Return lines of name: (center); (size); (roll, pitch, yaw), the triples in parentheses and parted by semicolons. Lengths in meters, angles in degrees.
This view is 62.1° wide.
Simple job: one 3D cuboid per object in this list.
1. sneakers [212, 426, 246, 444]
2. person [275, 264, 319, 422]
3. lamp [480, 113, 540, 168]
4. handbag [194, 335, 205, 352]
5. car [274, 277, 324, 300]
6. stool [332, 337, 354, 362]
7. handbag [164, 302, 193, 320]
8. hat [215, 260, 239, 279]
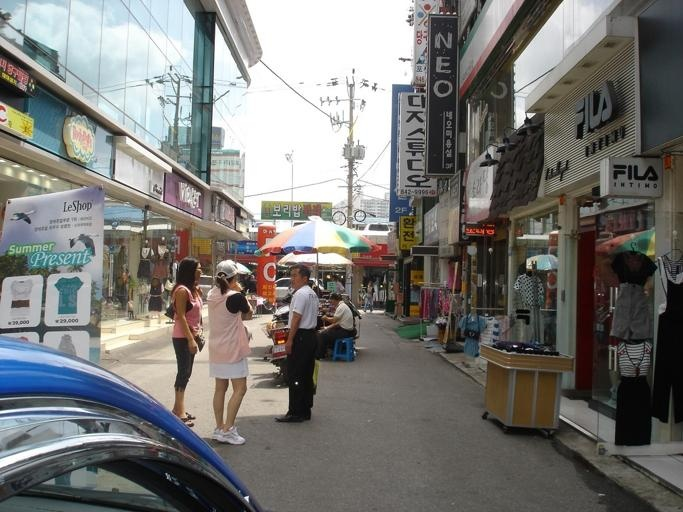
sneakers: (-1.308, 2.101, 6.764); (0.392, 0.226, 0.171); (7, 0, 3)
person: (-0.558, 1.241, 8.078); (0.656, 2.164, 0.616); (10, -2, 8)
lamp: (3.284, -2.249, 10.926); (0.295, 0.387, 1.202); (-19, -10, -39)
handbag: (-1.904, 1.174, 7.721); (0.162, 0.163, 0.138); (-1, 2, -28)
car: (-2.588, 1.945, 36.462); (3.454, 1.912, 2.151); (3, -2, 5)
stool: (0.073, 2.258, 13.832); (0.486, 0.563, 0.518); (-5, -7, 38)
handbag: (-2.141, 0.637, 7.448); (0.312, 0.354, 0.203); (-2, -12, 10)
hat: (-1.421, 0.166, 7.192); (0.166, 0.156, 0.280); (3, 15, 10)
